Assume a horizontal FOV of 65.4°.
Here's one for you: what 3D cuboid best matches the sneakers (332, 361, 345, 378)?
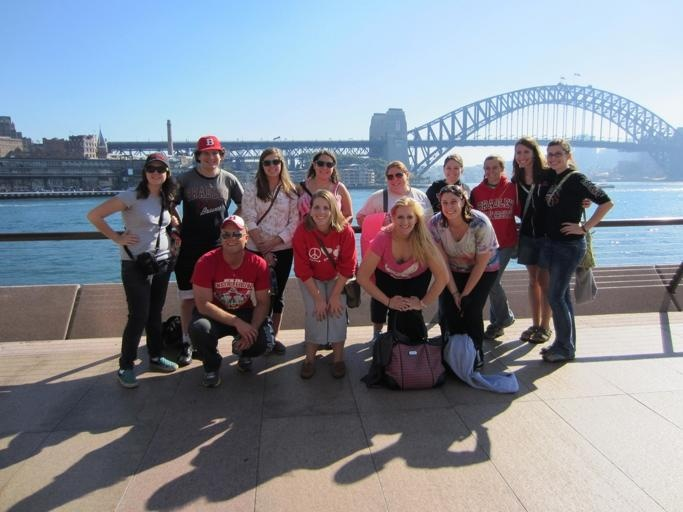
[{"bbox_3d":[-0.025,0.920,4.269,0.110,0.098,0.141,-2,13,-1],"label":"sneakers"}]

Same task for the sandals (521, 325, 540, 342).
[{"bbox_3d":[1.741,0.741,4.933,0.203,0.098,0.089,0,2,-25],"label":"sandals"}]

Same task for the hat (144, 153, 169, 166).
[{"bbox_3d":[-1.481,-0.760,4.237,0.155,0.098,0.123,-8,14,-24],"label":"hat"}]

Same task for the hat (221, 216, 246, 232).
[{"bbox_3d":[-0.864,-0.255,4.220,0.170,0.106,0.243,-3,13,-7],"label":"hat"}]

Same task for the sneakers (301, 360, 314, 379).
[{"bbox_3d":[-0.274,0.928,4.264,0.121,0.118,0.318,0,0,-5],"label":"sneakers"}]

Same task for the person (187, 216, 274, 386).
[{"bbox_3d":[-0.921,0.355,4.256,0.748,1.223,0.812,11,13,31],"label":"person"}]

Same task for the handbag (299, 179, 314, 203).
[{"bbox_3d":[-0.334,-0.587,4.829,0.113,0.199,0.049,2,-28,-24],"label":"handbag"}]

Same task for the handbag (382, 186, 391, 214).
[{"bbox_3d":[0.413,-0.504,4.933,0.036,0.163,0.158,5,-13,12],"label":"handbag"}]

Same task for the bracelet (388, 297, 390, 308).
[{"bbox_3d":[0.378,0.383,4.282,0.010,0.042,0.043,9,4,-5],"label":"bracelet"}]

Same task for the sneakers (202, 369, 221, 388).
[{"bbox_3d":[-1.015,0.966,4.121,0.122,0.122,0.275,2,-2,-12],"label":"sneakers"}]

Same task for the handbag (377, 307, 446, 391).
[{"bbox_3d":[0.519,0.736,4.141,0.534,0.517,0.371,-1,12,4],"label":"handbag"}]

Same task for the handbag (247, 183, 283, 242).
[{"bbox_3d":[-0.698,-0.377,4.734,0.109,0.441,0.329,25,-6,37],"label":"handbag"}]

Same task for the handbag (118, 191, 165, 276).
[{"bbox_3d":[-1.559,-0.129,4.231,0.352,0.579,0.209,-8,13,-27],"label":"handbag"}]

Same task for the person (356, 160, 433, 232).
[{"bbox_3d":[0.497,-0.513,4.910,0.699,0.676,0.400,-2,-11,12],"label":"person"}]

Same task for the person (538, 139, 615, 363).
[{"bbox_3d":[1.938,-0.048,4.491,0.490,1.804,0.644,3,13,22],"label":"person"}]

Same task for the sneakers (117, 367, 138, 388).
[{"bbox_3d":[-1.670,0.961,4.137,0.084,0.109,0.224,1,2,-40],"label":"sneakers"}]

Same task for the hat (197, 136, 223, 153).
[{"bbox_3d":[-1.161,-0.967,4.631,0.220,0.127,0.203,-5,13,-16],"label":"hat"}]

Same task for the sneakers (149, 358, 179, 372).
[{"bbox_3d":[-1.470,0.926,4.437,0.265,0.123,0.104,3,33,-8],"label":"sneakers"}]

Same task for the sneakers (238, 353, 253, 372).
[{"bbox_3d":[-0.800,0.895,4.368,0.072,0.077,0.173,2,10,-6],"label":"sneakers"}]

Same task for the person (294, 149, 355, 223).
[{"bbox_3d":[-0.172,-0.552,4.821,0.493,0.784,0.406,1,-8,-17],"label":"person"}]

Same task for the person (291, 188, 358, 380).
[{"bbox_3d":[-0.133,0.209,4.347,0.520,1.461,0.554,-2,12,0],"label":"person"}]
